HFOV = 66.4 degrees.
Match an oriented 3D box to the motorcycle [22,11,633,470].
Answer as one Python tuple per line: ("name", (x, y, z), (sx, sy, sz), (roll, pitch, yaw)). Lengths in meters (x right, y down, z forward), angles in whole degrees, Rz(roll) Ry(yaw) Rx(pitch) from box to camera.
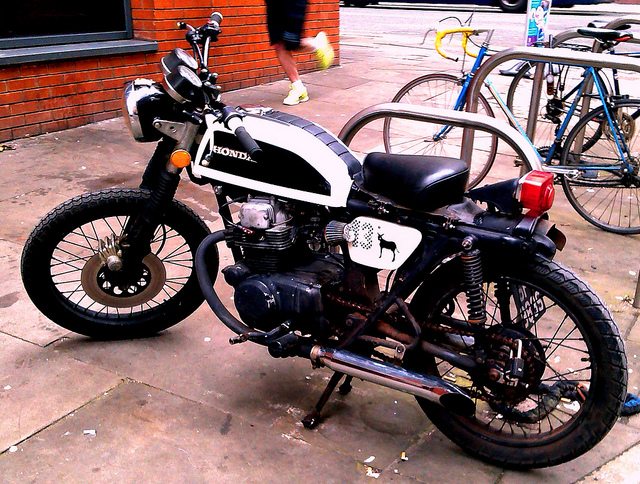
("motorcycle", (-0.044, 0.093, 2.224), (2.671, 1.619, 0.873), (17, 37, 25))
